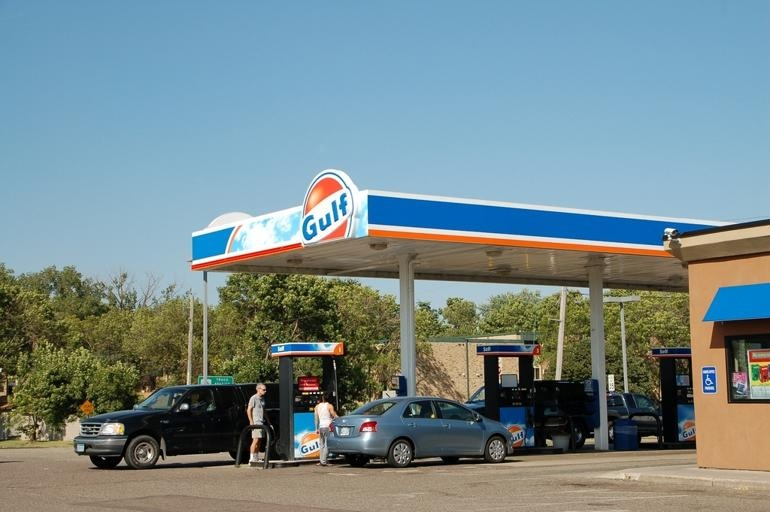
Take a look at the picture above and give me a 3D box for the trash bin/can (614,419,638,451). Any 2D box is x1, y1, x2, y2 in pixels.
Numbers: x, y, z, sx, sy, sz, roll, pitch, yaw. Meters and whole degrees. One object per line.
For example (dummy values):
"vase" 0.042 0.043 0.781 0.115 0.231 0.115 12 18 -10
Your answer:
"trash bin/can" 9.118 6.736 33.667 0.844 1.147 0.718 -2 -12 7

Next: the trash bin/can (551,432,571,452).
"trash bin/can" 6.605 6.931 33.145 0.610 0.505 0.647 0 0 3
